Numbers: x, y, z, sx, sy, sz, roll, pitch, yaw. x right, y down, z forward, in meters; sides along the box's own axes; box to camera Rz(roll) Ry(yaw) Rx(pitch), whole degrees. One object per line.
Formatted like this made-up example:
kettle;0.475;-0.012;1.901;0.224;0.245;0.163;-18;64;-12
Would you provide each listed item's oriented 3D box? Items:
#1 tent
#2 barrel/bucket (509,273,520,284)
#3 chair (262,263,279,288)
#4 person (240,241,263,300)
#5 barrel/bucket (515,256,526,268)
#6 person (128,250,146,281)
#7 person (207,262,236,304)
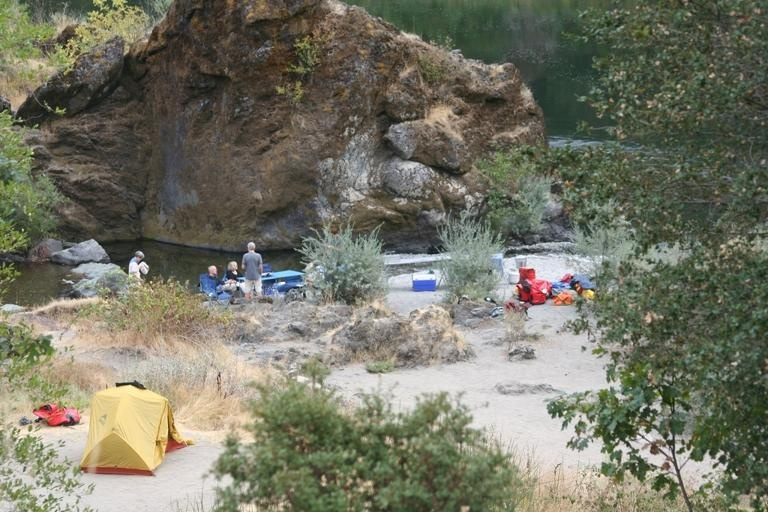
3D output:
tent;-5.998;4.086;28.096;1.539;1.407;2.184;1;3;1
barrel/bucket;4.129;0.706;37.702;0.319;0.370;0.308;2;21;-1
chair;-3.659;0.646;37.794;0.409;0.458;0.721;-4;17;-16
person;-4.023;0.442;36.958;0.592;1.464;1.115;-5;2;-8
barrel/bucket;4.455;0.215;38.896;0.172;0.361;0.196;9;45;7
person;-7.839;0.326;38.098;0.287;0.441;0.883;-2;-20;-20
person;-5.109;0.896;37.893;0.949;1.177;0.515;-24;33;-31
